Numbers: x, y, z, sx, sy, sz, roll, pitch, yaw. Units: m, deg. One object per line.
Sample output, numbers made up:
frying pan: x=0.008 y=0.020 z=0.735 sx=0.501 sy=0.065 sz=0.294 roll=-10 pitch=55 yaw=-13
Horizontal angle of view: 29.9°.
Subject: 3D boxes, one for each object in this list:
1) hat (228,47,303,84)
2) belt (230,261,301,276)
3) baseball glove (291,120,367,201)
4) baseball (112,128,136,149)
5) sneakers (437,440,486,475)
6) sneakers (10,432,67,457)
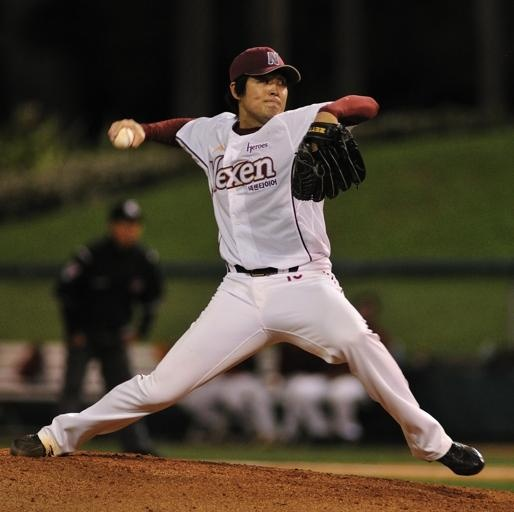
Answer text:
hat: x=0.050 y=-0.971 z=5.085 sx=0.287 sy=0.147 sz=0.212 roll=-10 pitch=-1 yaw=28
belt: x=0.037 y=0.078 z=4.907 sx=0.350 sy=0.061 sz=0.048 roll=2 pitch=1 yaw=16
baseball glove: x=0.369 y=-0.460 z=4.750 sx=0.361 sy=0.374 sz=0.195 roll=2 pitch=1 yaw=-4
baseball: x=-0.706 y=-0.608 z=5.139 sx=0.059 sy=0.112 sz=0.090 roll=23 pitch=-20 yaw=-31
sneakers: x=1.060 y=1.050 z=4.993 sx=0.271 sy=0.131 sz=0.110 roll=14 pitch=-13 yaw=19
sneakers: x=-1.187 y=1.021 z=5.218 sx=0.281 sy=0.110 sz=0.132 roll=6 pitch=-11 yaw=5
